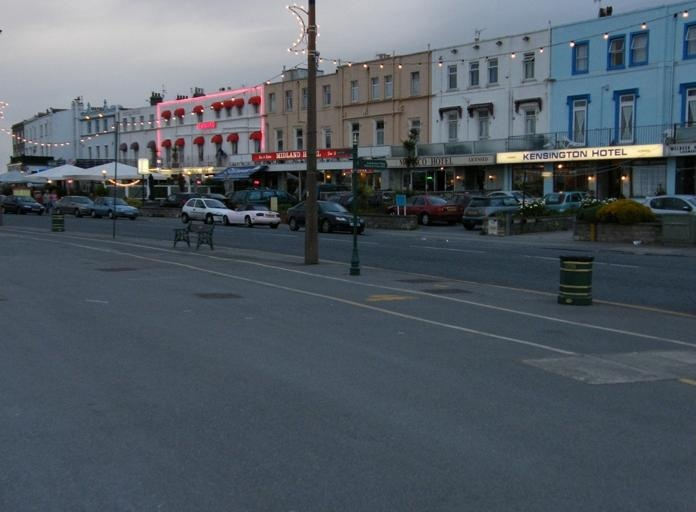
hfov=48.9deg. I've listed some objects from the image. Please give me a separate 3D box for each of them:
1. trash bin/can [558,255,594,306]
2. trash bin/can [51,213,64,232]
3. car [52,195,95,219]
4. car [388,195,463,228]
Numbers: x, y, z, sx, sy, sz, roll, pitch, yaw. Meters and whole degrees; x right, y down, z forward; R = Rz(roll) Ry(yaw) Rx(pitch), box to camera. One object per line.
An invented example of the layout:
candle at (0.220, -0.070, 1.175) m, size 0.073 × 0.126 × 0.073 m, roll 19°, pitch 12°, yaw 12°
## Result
trash bin/can at (4.494, 0.457, 15.340) m, size 0.891 × 1.209 × 0.824 m, roll 1°, pitch -1°, yaw 15°
trash bin/can at (-12.932, -1.469, 34.151) m, size 0.485 × 0.763 × 0.574 m, roll -1°, pitch 6°, yaw -20°
car at (-18.192, -3.437, 51.524) m, size 1.539 × 1.062 × 3.045 m, roll -4°, pitch 3°, yaw -41°
car at (4.377, -2.591, 42.313) m, size 1.521 × 1.214 × 3.507 m, roll -4°, pitch 10°, yaw -39°
